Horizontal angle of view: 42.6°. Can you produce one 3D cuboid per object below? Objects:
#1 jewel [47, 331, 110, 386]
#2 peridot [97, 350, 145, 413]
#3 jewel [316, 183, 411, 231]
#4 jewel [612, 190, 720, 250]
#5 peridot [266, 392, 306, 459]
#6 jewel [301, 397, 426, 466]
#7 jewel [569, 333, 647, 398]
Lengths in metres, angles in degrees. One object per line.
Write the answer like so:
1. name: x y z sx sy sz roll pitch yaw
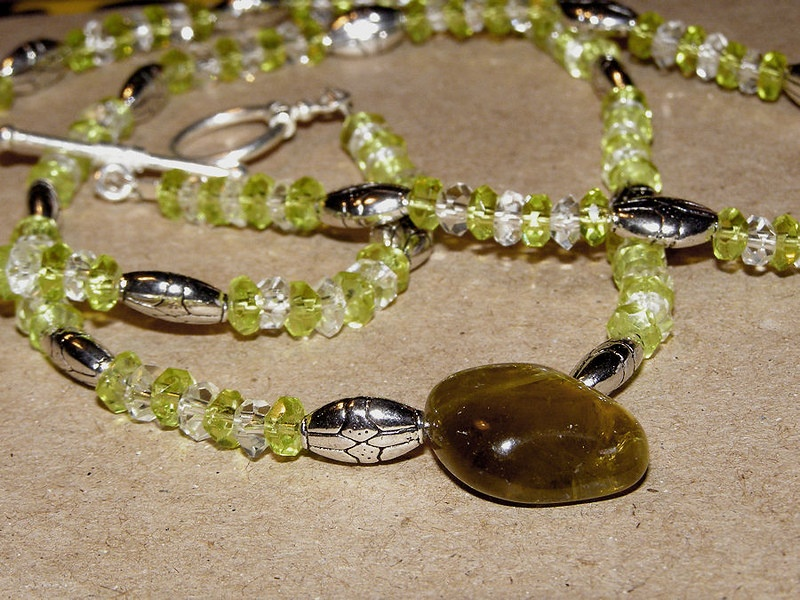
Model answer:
1. jewel: -0.436 0.069 1.414 0.110 0.055 0.055 23 29 39
2. peridot: -0.376 0.110 1.368 0.068 0.030 0.074 34 93 27
3. jewel: -0.051 -0.134 1.452 0.114 0.035 0.058 -1 65 13
4. jewel: 0.360 -0.105 1.401 0.132 0.045 0.064 11 66 8
5. peridot: -0.146 0.164 1.308 0.054 0.064 0.050 -10 35 -5
6. jewel: -0.044 0.162 1.261 0.148 0.082 0.067 1 57 7
7. jewel: 0.271 0.084 1.344 0.100 0.037 0.055 -28 58 -30
